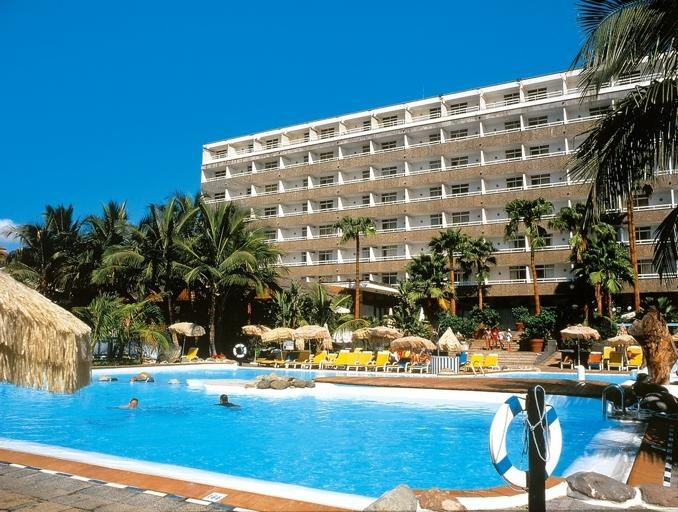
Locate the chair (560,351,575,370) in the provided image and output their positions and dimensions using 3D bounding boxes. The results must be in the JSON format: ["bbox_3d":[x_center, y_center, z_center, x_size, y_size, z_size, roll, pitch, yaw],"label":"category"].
[{"bbox_3d":[11.353,5.145,33.041,0.747,0.969,1.429,-1,-11,14],"label":"chair"}]

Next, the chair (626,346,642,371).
[{"bbox_3d":[13.604,4.734,30.856,0.715,0.963,2.177,-11,-14,22],"label":"chair"}]

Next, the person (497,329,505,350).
[{"bbox_3d":[9.792,5.179,40.286,0.404,1.146,1.588,-8,-13,12],"label":"person"}]

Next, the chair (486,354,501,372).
[{"bbox_3d":[6.907,4.861,30.246,0.630,0.849,2.209,-8,-14,13],"label":"chair"}]

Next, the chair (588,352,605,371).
[{"bbox_3d":[11.986,4.926,31.246,0.637,0.903,0.830,-6,-13,27],"label":"chair"}]

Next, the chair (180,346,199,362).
[{"bbox_3d":[-7.489,5.053,33.842,0.691,0.361,0.962,3,0,11],"label":"chair"}]

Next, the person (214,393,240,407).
[{"bbox_3d":[-3.270,4.322,19.833,0.667,0.439,0.582,-5,-13,-3],"label":"person"}]

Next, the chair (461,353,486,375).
[{"bbox_3d":[5.819,4.700,28.925,0.684,0.805,1.043,-7,-15,32],"label":"chair"}]

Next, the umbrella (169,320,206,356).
[{"bbox_3d":[-7.772,3.932,33.402,1.753,1.982,1.809,-2,-14,25],"label":"umbrella"}]
